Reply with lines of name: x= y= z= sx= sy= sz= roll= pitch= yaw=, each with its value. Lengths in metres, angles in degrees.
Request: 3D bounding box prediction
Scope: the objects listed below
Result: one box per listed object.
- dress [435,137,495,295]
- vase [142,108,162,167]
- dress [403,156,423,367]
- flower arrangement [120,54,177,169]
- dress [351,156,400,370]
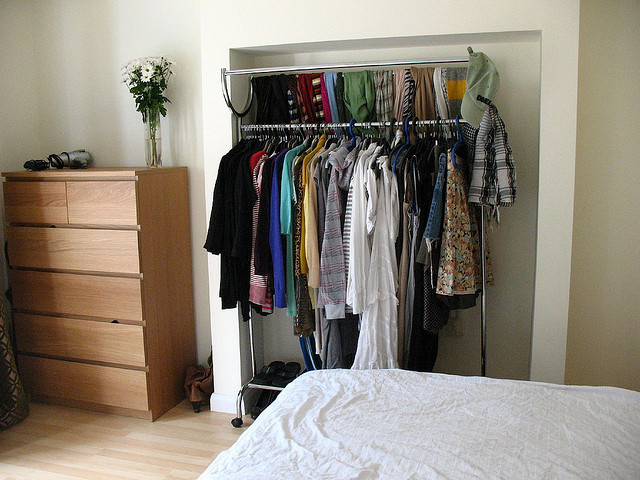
dress: x=0.832 y=-0.119 z=2.841 sx=0.266 sy=0.915 sz=0.453 roll=2 pitch=11 yaw=24
vase: x=-1.196 y=-0.733 z=3.586 sx=0.123 sy=0.408 sz=0.251 roll=-6 pitch=10 yaw=-17
dress: x=0.534 y=0.194 z=2.871 sx=0.120 sy=1.147 sz=0.066 roll=-1 pitch=10 yaw=11
flower arrangement: x=-1.225 y=-0.936 z=3.595 sx=0.461 sy=0.810 sz=0.316 roll=2 pitch=11 yaw=25
dress: x=0.323 y=0.202 z=2.864 sx=0.284 sy=1.122 sz=0.135 roll=-7 pitch=10 yaw=-22
